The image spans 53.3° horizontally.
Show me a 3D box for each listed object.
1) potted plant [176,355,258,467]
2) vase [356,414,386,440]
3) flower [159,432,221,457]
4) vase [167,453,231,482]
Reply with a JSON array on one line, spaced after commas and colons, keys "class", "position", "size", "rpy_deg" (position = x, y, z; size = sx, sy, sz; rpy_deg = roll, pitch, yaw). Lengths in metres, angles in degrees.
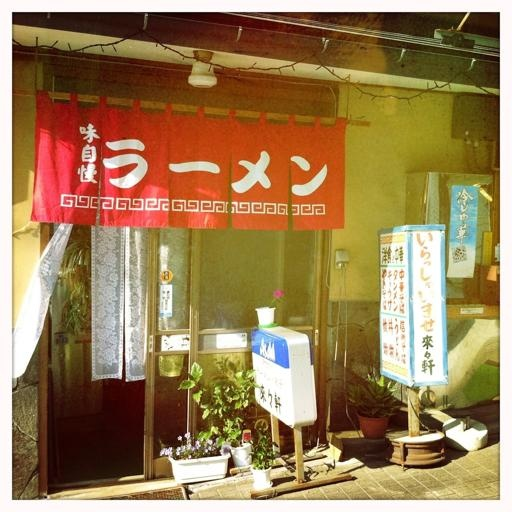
[{"class": "potted plant", "position": [-0.422, 2.060, 6.854], "size": [1.216, 1.462, 1.121], "rpy_deg": [3, -15, -11]}, {"class": "vase", "position": [1.600, 2.349, 6.954], "size": [0.298, 0.241, 0.300], "rpy_deg": [0, -12, 0]}, {"class": "flower", "position": [-0.761, 2.387, 6.297], "size": [0.565, 0.197, 0.398], "rpy_deg": [1, -2, -19]}, {"class": "vase", "position": [-0.655, 2.587, 6.146], "size": [0.500, 0.224, 0.367], "rpy_deg": [-1, -8, -11]}]
